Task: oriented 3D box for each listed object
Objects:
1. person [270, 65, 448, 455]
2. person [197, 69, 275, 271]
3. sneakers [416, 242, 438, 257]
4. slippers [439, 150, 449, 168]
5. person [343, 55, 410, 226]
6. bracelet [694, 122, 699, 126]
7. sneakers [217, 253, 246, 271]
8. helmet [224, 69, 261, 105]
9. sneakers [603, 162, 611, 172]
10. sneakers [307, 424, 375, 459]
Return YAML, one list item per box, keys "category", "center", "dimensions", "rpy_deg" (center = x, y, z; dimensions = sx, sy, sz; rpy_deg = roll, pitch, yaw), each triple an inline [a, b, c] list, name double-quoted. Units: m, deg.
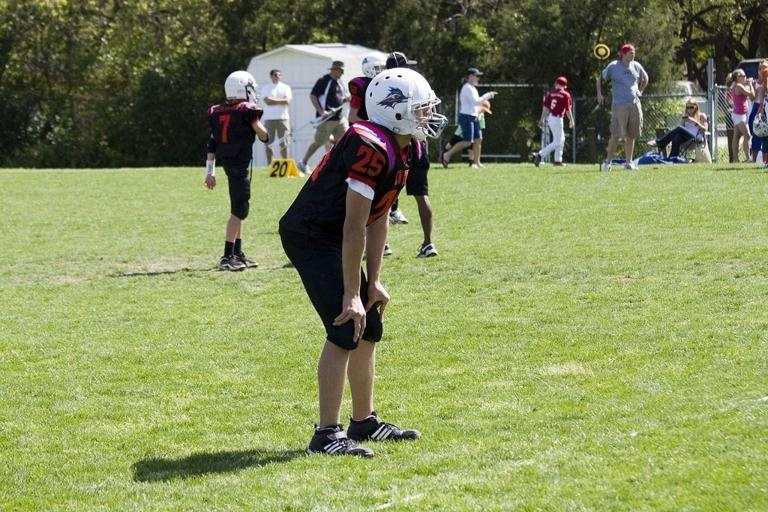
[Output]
- category: "person"
  center: [-0.218, 0.056, 9.777]
  dimensions: [1.366, 3.295, 0.800]
  rpy_deg: [-5, 11, -9]
- category: "person"
  center: [-2.004, -1.153, 14.783]
  dimensions: [0.848, 2.567, 0.965]
  rpy_deg: [-5, 11, -10]
- category: "sneakers"
  center: [0.589, -0.055, 14.628]
  dimensions: [0.118, 0.155, 0.317]
  rpy_deg: [1, -8, -24]
- category: "slippers"
  center: [1.368, -2.164, 24.155]
  dimensions: [0.132, 0.432, 0.151]
  rpy_deg: [-5, -8, 7]
- category: "person"
  center: [0.128, -1.484, 14.636]
  dimensions: [0.790, 2.388, 0.911]
  rpy_deg: [-16, 23, -12]
- category: "bracelet"
  center: [7.130, -2.958, 24.676]
  dimensions: [0.148, 0.088, 0.110]
  rpy_deg: [1, 0, 9]
- category: "sneakers"
  center: [-2.046, 0.115, 14.583]
  dimensions: [0.390, 0.209, 0.160]
  rpy_deg: [1, 2, 7]
- category: "helmet"
  center: [-1.982, -2.312, 14.857]
  dimensions: [0.366, 0.437, 0.439]
  rpy_deg: [14, 23, 30]
- category: "sneakers"
  center: [4.341, -1.693, 21.017]
  dimensions: [0.157, 0.210, 0.483]
  rpy_deg: [2, 7, 8]
- category: "sneakers"
  center: [-0.428, 1.662, 9.850]
  dimensions: [0.660, 0.312, 0.246]
  rpy_deg: [3, -1, 7]
